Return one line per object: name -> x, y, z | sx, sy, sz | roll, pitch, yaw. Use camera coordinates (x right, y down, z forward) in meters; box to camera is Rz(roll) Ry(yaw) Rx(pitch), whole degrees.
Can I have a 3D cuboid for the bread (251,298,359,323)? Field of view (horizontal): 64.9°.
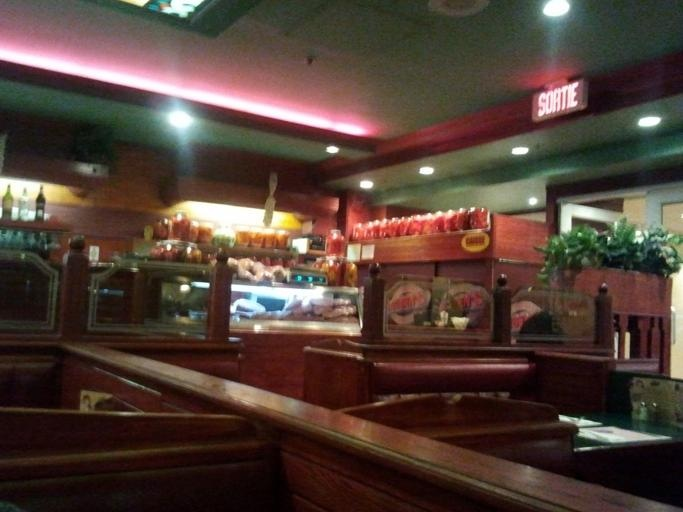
bread -> -0.281, 0.465, 4.698 | 0.919, 0.210, 0.130 | 7, -6, -30
